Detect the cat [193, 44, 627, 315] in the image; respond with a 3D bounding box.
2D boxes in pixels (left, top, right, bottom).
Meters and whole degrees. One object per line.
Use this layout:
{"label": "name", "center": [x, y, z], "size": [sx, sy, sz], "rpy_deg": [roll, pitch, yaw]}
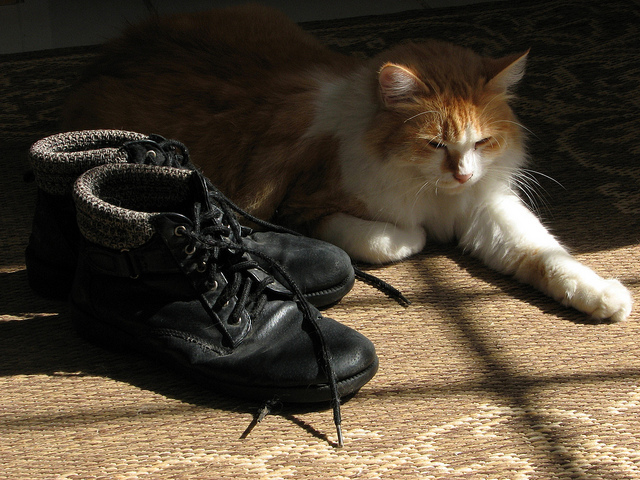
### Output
{"label": "cat", "center": [0.166, -0.250, 1.822], "size": [1.252, 0.394, 0.649], "rpy_deg": [29, 39, 30]}
